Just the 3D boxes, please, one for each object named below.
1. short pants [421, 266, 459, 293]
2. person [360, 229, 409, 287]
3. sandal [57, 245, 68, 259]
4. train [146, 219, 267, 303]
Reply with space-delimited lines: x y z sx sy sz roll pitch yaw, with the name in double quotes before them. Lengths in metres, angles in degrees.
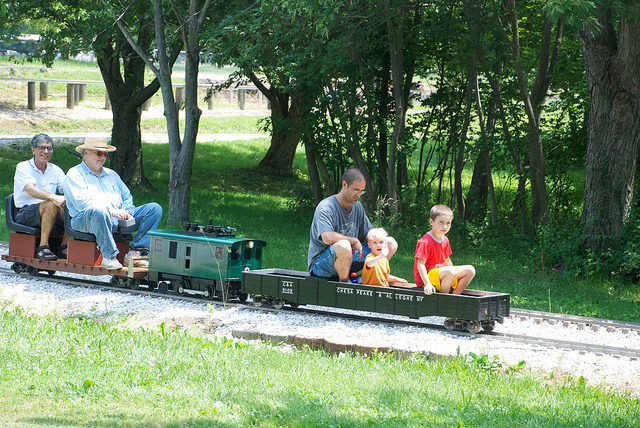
"short pants" 2.297 1.184 21.919 0.491 0.494 0.394 -4 -3 -12
"person" 1.164 0.867 22.286 0.641 1.152 0.796 3 17 31
"sandal" -5.361 0.738 24.311 0.376 0.275 0.146 7 3 41
"train" -2.304 0.902 23.644 2.458 1.640 1.040 5 2 40
